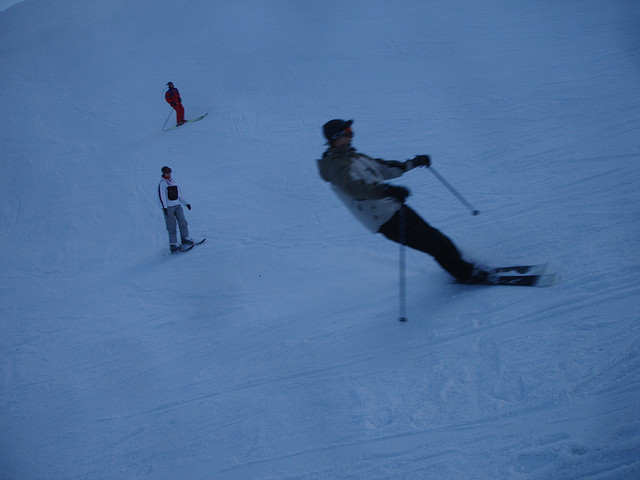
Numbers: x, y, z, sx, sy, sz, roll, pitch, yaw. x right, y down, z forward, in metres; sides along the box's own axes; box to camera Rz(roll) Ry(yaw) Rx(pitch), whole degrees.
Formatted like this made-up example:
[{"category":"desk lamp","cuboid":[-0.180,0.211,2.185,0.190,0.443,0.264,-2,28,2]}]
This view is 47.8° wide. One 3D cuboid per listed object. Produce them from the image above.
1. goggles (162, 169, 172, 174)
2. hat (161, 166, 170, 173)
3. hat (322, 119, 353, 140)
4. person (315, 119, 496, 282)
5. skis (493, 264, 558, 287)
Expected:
[{"category":"goggles","cuboid":[-1.999,-0.907,9.382,0.099,0.037,0.073,5,23,37]},{"category":"hat","cuboid":[-2.027,-0.936,9.384,0.114,0.087,0.088,-5,42,9]},{"category":"hat","cuboid":[0.170,-1.157,7.369,0.268,0.083,0.176,-28,16,2]},{"category":"person","cuboid":[0.858,-0.358,7.538,1.010,2.004,0.625,-27,-2,-35]},{"category":"skis","cuboid":[2.201,0.330,7.638,0.528,0.058,0.231,0,43,17]}]
